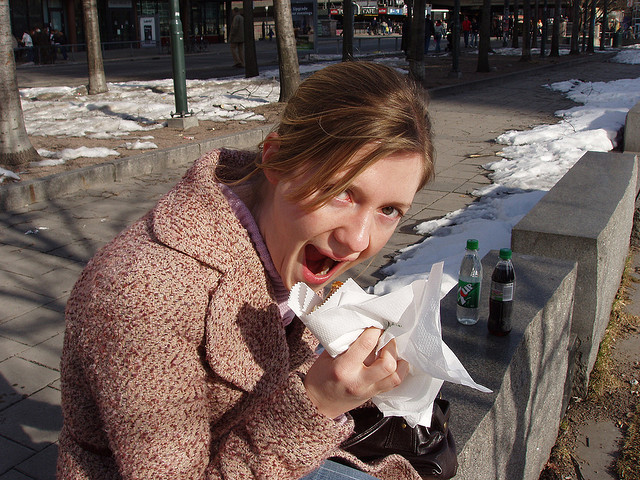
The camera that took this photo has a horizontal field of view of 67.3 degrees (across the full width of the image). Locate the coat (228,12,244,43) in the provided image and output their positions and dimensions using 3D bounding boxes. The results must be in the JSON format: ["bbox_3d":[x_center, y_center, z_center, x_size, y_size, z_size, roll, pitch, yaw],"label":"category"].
[{"bbox_3d":[-3.911,-9.959,22.409,0.619,1.406,1.810,-5,19,-8],"label":"coat"}]

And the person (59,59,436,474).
[{"bbox_3d":[-0.231,0.096,1.314,1.064,1.087,0.569,0,20,5],"label":"person"}]

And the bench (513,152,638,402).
[{"bbox_3d":[1.988,0.303,3.622,0.360,0.977,2.186,12,26,21],"label":"bench"}]

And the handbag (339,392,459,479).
[{"bbox_3d":[0.279,0.682,1.685,0.398,0.136,0.306,9,6,-5],"label":"handbag"}]
